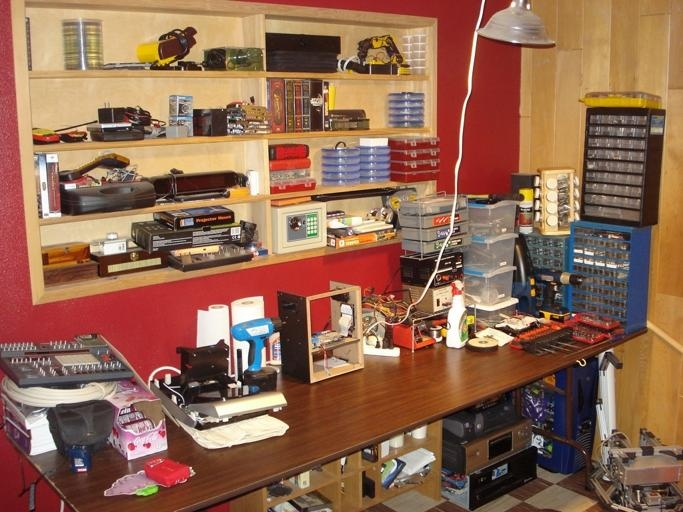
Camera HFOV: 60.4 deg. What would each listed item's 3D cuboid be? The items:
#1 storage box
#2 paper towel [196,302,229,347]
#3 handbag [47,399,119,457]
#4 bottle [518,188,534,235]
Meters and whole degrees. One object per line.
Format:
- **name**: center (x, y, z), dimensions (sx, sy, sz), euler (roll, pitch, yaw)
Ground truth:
- **storage box**: center (0.954, 0.025, 3.791), dimensions (0.337, 0.759, 0.441), euler (-1, 17, 16)
- **paper towel**: center (-0.692, 0.377, 3.142), dimensions (0.182, 0.234, 0.189), euler (1, -8, -9)
- **handbag**: center (-1.048, 0.677, 2.399), dimensions (0.284, 0.206, 0.221), euler (1, -6, -32)
- **bottle**: center (1.319, -0.319, 4.199), dimensions (0.099, 0.312, 0.162), euler (1, 18, 22)
